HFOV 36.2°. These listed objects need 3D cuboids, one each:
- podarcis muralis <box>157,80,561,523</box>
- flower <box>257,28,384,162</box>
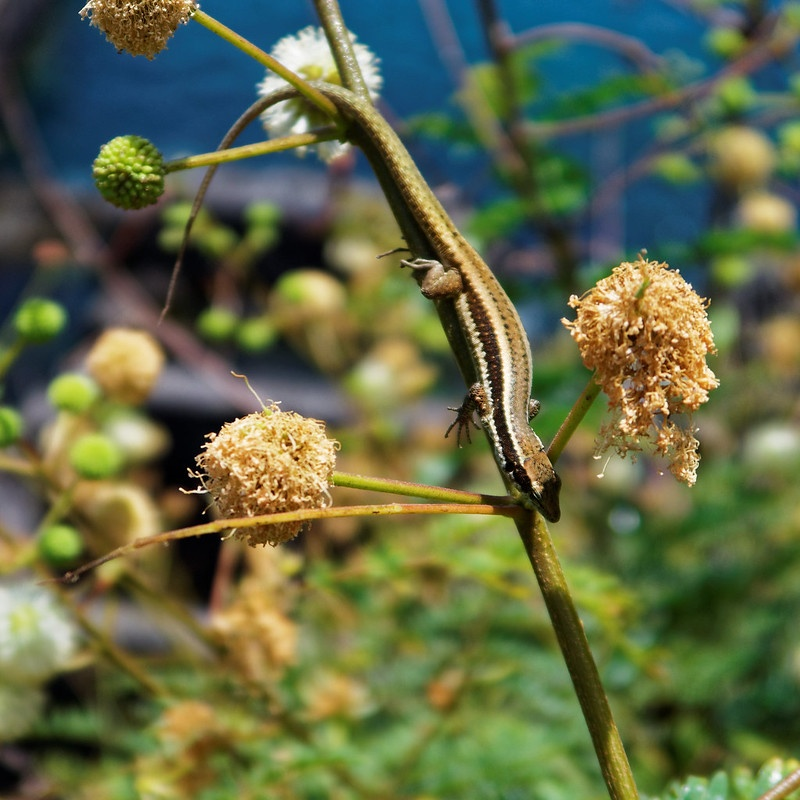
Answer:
[{"bbox_3d":[-0.043,-0.182,2.517,0.792,0.874,0.173,-13,-18,-48],"label":"podarcis muralis"},{"bbox_3d":[-0.108,-0.591,2.505,0.101,0.236,0.233,-51,2,-7],"label":"flower"}]
